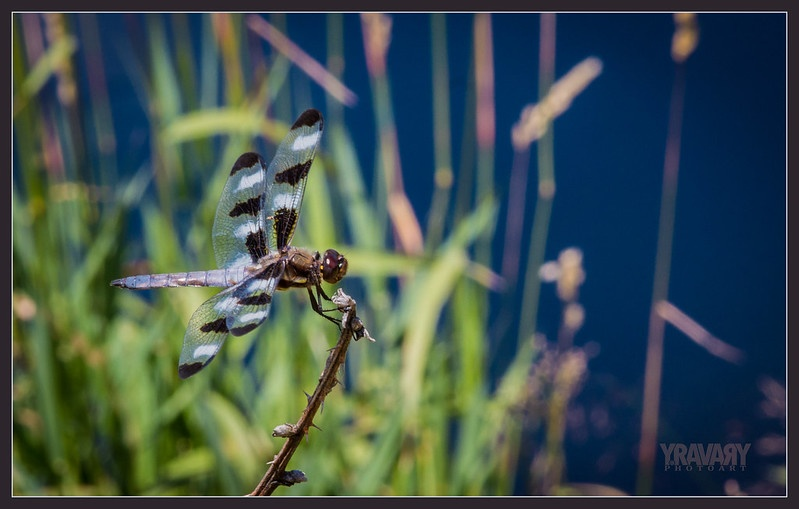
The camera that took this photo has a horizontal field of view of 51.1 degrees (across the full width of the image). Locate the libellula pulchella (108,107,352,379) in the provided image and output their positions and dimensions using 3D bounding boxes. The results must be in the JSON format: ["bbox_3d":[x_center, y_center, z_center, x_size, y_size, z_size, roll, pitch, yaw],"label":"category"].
[{"bbox_3d":[-0.337,-0.012,1.735,0.473,0.542,0.150,-3,-24,22],"label":"libellula pulchella"}]
